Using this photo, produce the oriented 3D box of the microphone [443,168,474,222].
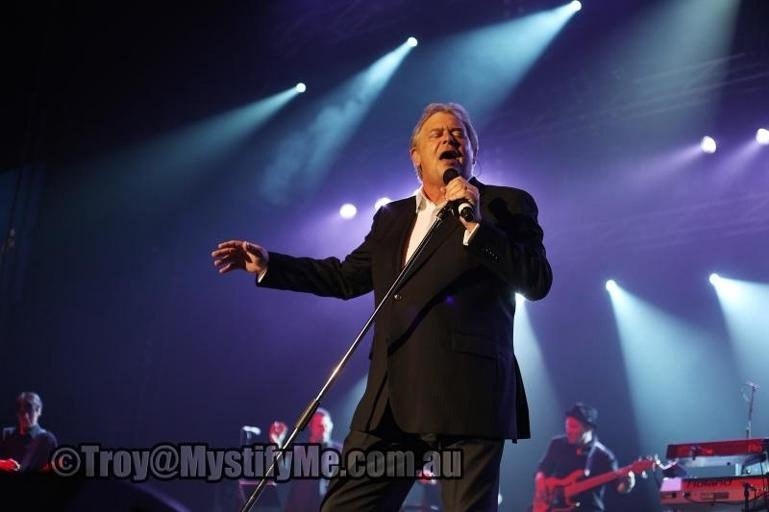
[{"bbox_3d":[0.540,-0.441,4.600,0.145,0.534,0.265,7,-26,-15],"label":"microphone"}]
